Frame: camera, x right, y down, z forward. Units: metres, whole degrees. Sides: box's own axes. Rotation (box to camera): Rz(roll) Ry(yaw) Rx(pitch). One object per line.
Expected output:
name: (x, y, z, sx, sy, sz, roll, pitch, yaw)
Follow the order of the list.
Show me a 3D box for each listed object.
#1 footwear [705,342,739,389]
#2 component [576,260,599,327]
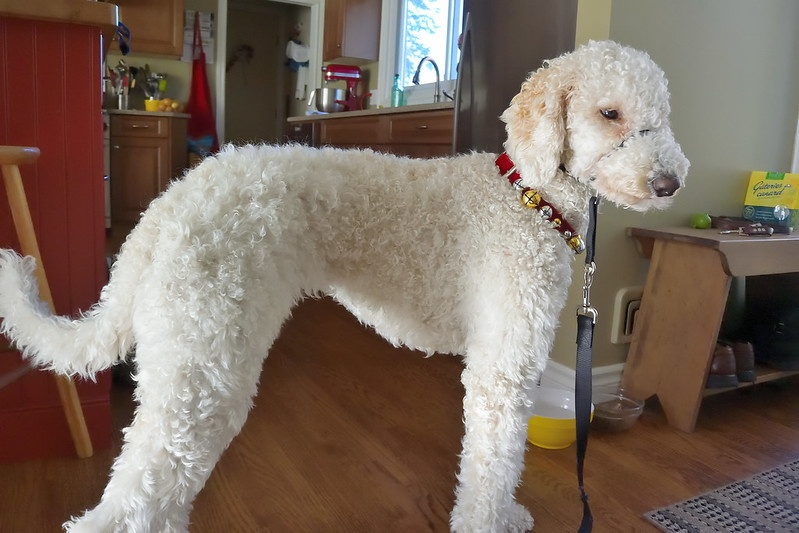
footwear: (1.494, 0.472, 2.881, 0.099, 0.116, 0.240, 0, 4, 5)
component: (0.652, 0.099, 2.142, 0.028, 0.220, 0.088, -5, 10, -30)
